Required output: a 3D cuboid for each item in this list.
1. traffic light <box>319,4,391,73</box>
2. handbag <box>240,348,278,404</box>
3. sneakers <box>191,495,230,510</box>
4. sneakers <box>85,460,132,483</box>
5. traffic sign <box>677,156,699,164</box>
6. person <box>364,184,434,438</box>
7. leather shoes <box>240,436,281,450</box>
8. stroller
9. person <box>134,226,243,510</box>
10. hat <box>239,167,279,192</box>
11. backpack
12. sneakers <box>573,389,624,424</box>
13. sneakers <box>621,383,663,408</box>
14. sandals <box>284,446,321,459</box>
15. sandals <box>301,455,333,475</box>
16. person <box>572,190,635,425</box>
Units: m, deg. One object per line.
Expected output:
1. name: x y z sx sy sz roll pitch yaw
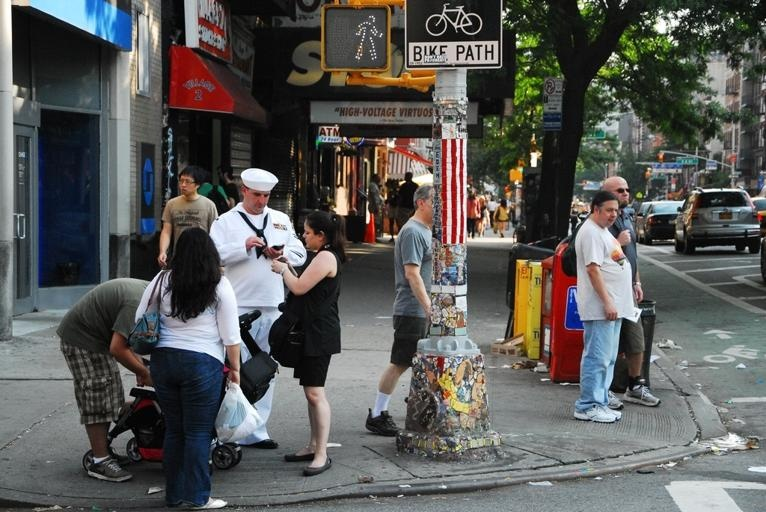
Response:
1. traffic light: -0.282 -2.290 8.669 0.725 0.694 0.264 0 1 1
2. handbag: -1.082 1.040 7.129 0.312 0.430 0.155 48 -7 31
3. sneakers: -1.392 1.964 6.641 0.278 0.099 0.097 -4 7 -24
4. sneakers: -2.335 1.827 7.110 0.396 0.181 0.156 4 8 5
5. traffic sign: 33.694 -10.604 91.304 1.712 0.614 0.181 -6 32 -26
6. person: 0.173 0.526 8.174 0.580 2.457 0.830 2 9 -1
7. leather shoes: -1.171 1.779 7.873 0.356 0.149 0.120 -1 3 7
8. stroller: -1.657 1.302 7.551 1.595 1.401 0.975 0 -1 8
9. person: -1.528 0.901 6.565 0.755 2.204 0.452 -1 9 -16
10. hat: -1.206 -0.726 8.030 0.297 0.245 0.504 1 9 -7
11. backpack: 2.327 -0.095 9.271 0.333 0.745 0.524 17 -2 2
12. sneakers: 2.323 1.605 8.757 0.559 0.259 0.221 -1 11 -11
13. sneakers: 2.931 1.561 9.335 0.416 0.204 0.189 5 10 13
14. sandals: -0.734 1.795 7.493 0.316 0.124 0.113 3 1 1
15. sandals: -0.571 1.831 7.210 0.095 0.079 0.264 -3 -2 28
16. person: 2.319 0.527 8.716 0.657 2.362 0.630 4 9 13
